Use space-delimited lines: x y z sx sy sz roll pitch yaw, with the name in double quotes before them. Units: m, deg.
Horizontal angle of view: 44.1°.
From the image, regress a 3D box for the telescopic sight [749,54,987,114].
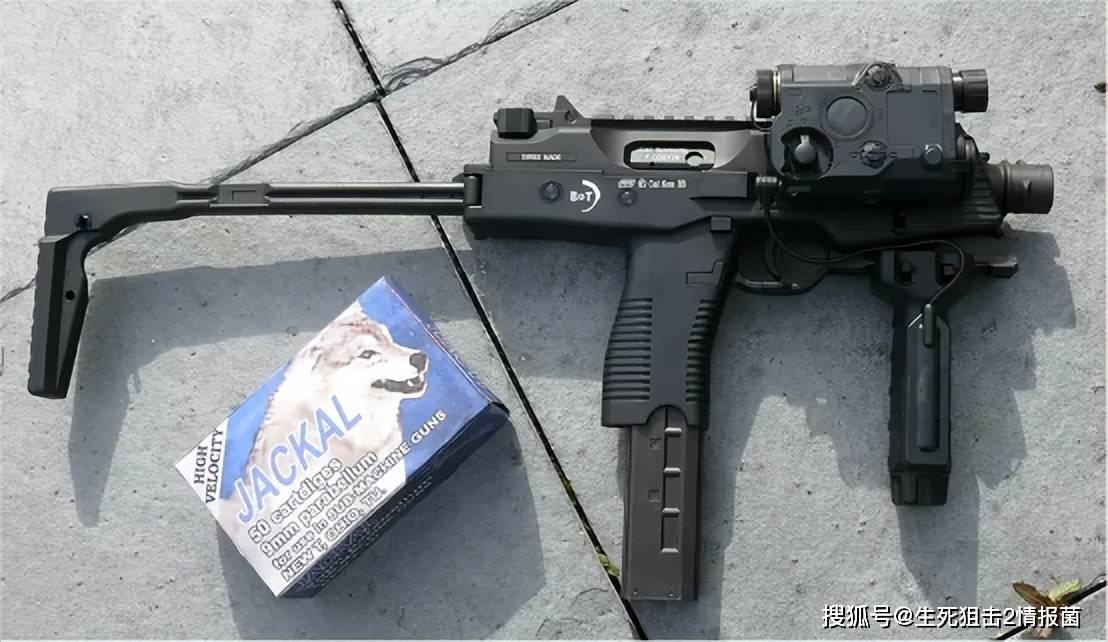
"telescopic sight" 1.013 -0.723 4.417 0.792 0.148 0.235 0 93 0
